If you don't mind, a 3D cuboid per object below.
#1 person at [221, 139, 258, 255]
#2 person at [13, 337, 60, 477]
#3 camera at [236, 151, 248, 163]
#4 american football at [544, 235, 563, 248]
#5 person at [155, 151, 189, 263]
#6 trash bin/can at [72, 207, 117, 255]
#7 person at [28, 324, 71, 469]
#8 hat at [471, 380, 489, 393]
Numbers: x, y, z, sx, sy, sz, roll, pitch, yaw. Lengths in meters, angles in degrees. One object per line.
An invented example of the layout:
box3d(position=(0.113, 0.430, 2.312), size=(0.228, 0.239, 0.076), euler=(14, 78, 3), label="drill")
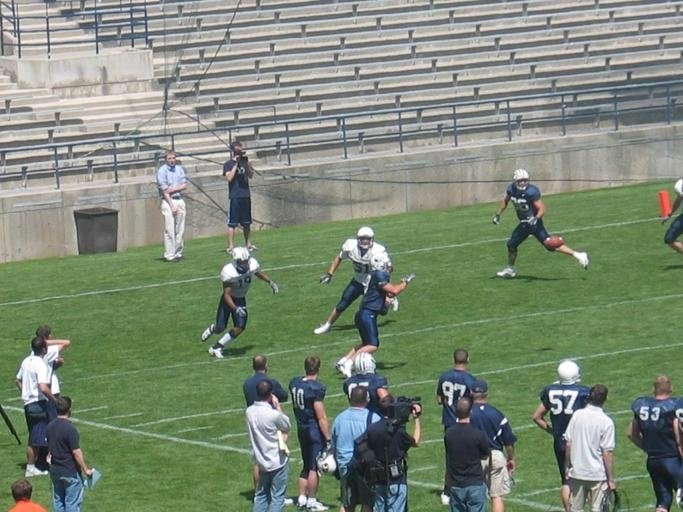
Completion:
box3d(position=(-2.146, -1.243, 45.890), size=(0.749, 2.368, 0.642), euler=(3, 20, 2), label="person")
box3d(position=(-5.312, 2.827, 38.124), size=(0.711, 2.438, 0.964), euler=(-2, 7, -26), label="person")
box3d(position=(-2.081, -2.097, 45.508), size=(0.251, 0.249, 0.159), euler=(-5, 30, -11), label="camera")
box3d(position=(4.324, -0.191, 43.549), size=(0.379, 0.244, 0.253), euler=(-2, 2, 5), label="american football")
box3d(position=(-3.566, -1.031, 46.238), size=(0.678, 2.403, 0.630), euler=(-11, 23, -38), label="person")
box3d(position=(-5.418, -0.470, 47.622), size=(0.947, 1.053, 0.657), euler=(-3, 2, -8), label="trash bin/can")
box3d(position=(-5.135, 2.597, 38.412), size=(0.918, 2.484, 0.806), euler=(-12, 24, -38), label="person")
box3d(position=(2.357, 2.364, 36.425), size=(0.266, 0.208, 0.458), euler=(-2, 2, 2), label="hat")
